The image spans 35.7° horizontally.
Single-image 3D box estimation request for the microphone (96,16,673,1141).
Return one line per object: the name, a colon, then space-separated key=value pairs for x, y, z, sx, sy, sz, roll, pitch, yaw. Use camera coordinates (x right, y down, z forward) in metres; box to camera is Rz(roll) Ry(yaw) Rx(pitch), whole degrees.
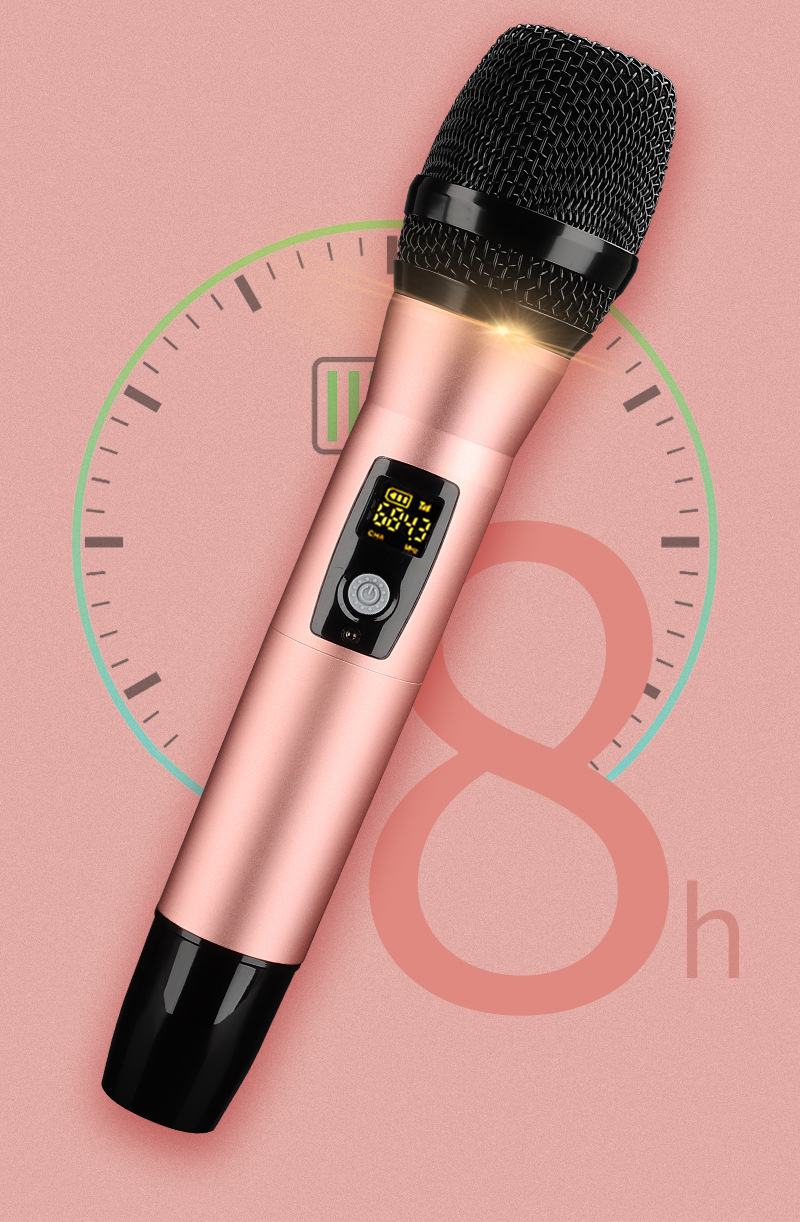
microphone: x=-0.010 y=-0.006 z=0.705 sx=0.134 sy=0.610 sz=0.290 roll=20 pitch=27 yaw=3
